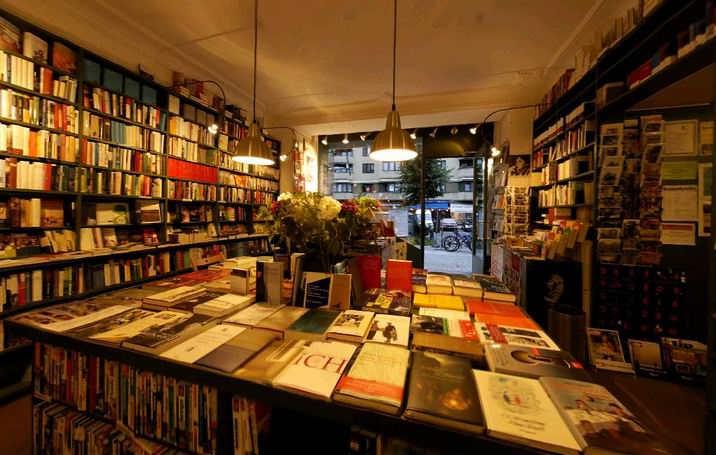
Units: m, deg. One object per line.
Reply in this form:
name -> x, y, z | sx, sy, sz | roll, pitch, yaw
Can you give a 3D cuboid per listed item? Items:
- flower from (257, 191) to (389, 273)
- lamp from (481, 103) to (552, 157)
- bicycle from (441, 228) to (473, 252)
flower -> -0.406, -0.046, 5.954 | 1.267, 0.746, 1.016 | 2, 5, 0
lamp -> 2.791, -1.720, 8.336 | 0.384, 0.890, 1.127 | -1, 2, -21
bicycle -> 2.507, 0.314, 12.266 | 0.865, 0.452, 0.403 | -1, 8, 8
